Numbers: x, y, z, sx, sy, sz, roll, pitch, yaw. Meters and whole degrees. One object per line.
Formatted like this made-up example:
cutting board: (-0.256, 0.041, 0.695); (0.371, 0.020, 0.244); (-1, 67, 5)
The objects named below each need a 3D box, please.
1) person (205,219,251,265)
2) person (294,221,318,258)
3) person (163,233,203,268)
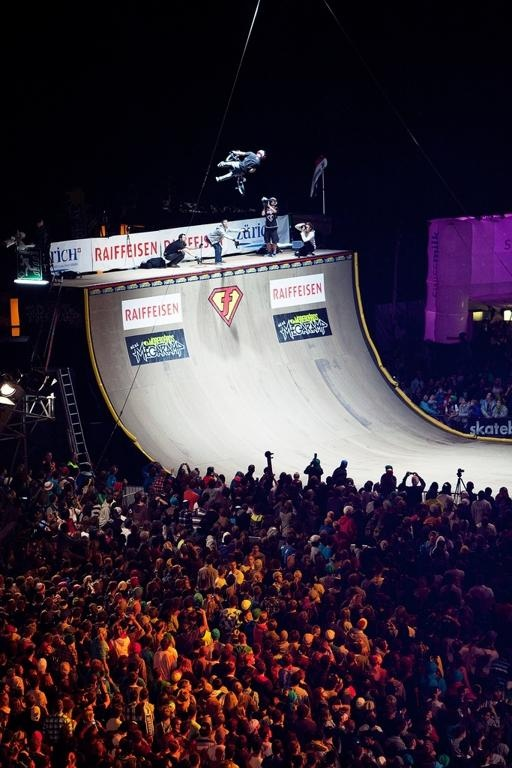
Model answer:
person: (-0.622, -3.550, 19.448); (1.201, 1.451, 0.689); (0, 31, -6)
person: (1.204, -3.569, 19.849); (0.474, 0.806, 0.397); (-1, 11, -4)
person: (-1.734, -3.211, 18.956); (0.942, 0.820, 0.559); (-15, 51, -14)
